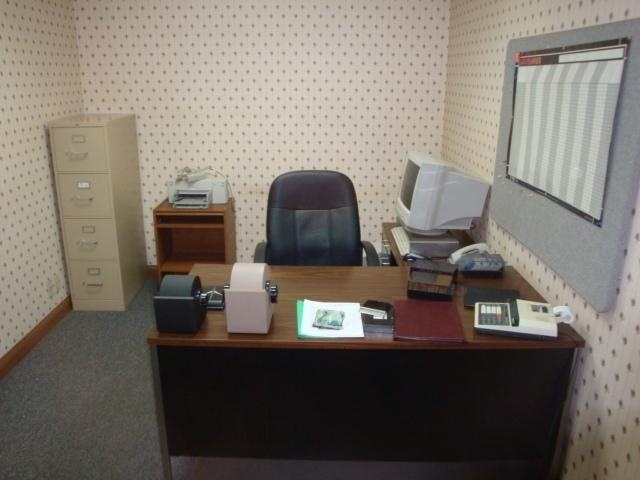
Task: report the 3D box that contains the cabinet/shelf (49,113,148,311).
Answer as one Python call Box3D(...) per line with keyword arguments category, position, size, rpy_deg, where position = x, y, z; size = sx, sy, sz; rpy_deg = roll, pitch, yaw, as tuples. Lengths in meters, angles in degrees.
Box3D(category="cabinet/shelf", position=(-1.849, -0.217, 4.335), size=(0.706, 1.607, 0.466), rpy_deg=(-10, 19, -32))

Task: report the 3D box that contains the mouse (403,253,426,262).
Box3D(category="mouse", position=(0.539, 0.094, 2.901), size=(0.075, 0.031, 0.055), rpy_deg=(-3, 9, -15))

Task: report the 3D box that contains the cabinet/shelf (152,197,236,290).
Box3D(category="cabinet/shelf", position=(-1.126, -0.014, 4.632), size=(0.659, 0.719, 0.411), rpy_deg=(1, 17, -1))

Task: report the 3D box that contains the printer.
Box3D(category="printer", position=(-1.079, -0.446, 4.550), size=(0.389, 0.271, 0.417), rpy_deg=(0, 17, -3))

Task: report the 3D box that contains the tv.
Box3D(category="tv", position=(0.823, -0.297, 3.533), size=(0.506, 0.502, 0.554), rpy_deg=(0, 23, -3))

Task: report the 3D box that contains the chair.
Box3D(category="chair", position=(-0.033, -0.243, 3.797), size=(0.610, 0.966, 0.750), rpy_deg=(-1, 9, -2))
